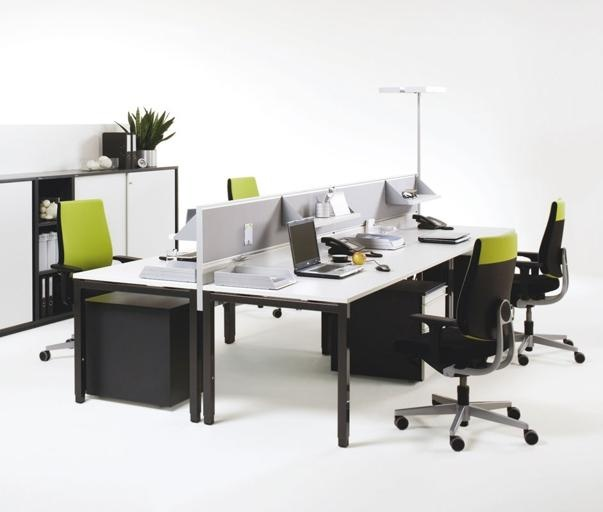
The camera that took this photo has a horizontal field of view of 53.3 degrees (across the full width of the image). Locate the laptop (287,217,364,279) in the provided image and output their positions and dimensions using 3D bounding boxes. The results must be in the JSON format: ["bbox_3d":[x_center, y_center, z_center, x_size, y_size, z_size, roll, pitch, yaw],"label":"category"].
[{"bbox_3d":[0.156,-0.028,3.646,0.369,0.348,0.443,1,5,20],"label":"laptop"}]

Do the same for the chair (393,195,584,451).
[{"bbox_3d":[1.271,0.464,4.012,0.759,1.018,1.632,4,9,30],"label":"chair"}]
